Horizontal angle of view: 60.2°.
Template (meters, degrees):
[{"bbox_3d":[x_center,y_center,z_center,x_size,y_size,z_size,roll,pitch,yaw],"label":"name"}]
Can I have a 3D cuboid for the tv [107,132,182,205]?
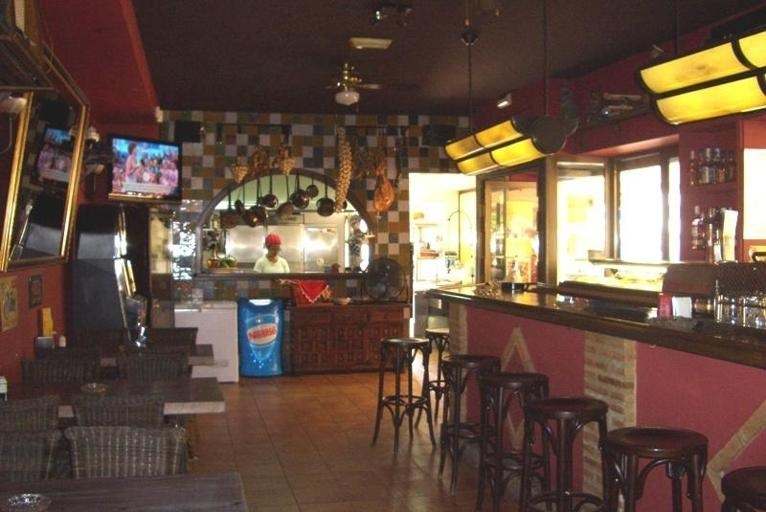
[{"bbox_3d":[-2.408,-0.867,6.669,0.129,0.614,1.064,2,5,21],"label":"tv"}]

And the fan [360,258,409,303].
[{"bbox_3d":[0.030,0.310,8.973,0.634,0.574,0.392,0,5,0],"label":"fan"}]

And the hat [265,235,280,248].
[{"bbox_3d":[-1.520,-0.205,9.197,0.192,0.193,0.205,-3,10,-28],"label":"hat"}]

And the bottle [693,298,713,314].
[{"bbox_3d":[1.895,0.292,3.905,0.096,0.069,0.095,1,2,0],"label":"bottle"}]

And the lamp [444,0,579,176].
[{"bbox_3d":[1.336,-1.702,6.624,0.469,1.148,1.202,8,-5,-16],"label":"lamp"}]

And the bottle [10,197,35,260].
[{"bbox_3d":[-2.266,-0.180,4.168,0.093,0.353,0.108,10,10,-17],"label":"bottle"}]

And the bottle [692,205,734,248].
[{"bbox_3d":[2.890,-0.249,5.766,0.433,0.427,0.315,1,2,9],"label":"bottle"}]

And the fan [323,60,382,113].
[{"bbox_3d":[-0.303,-1.812,7.139,0.459,0.311,0.452,1,0,-9],"label":"fan"}]

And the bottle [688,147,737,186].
[{"bbox_3d":[3.129,-0.854,6.308,0.119,0.363,0.505,-2,5,-24],"label":"bottle"}]
